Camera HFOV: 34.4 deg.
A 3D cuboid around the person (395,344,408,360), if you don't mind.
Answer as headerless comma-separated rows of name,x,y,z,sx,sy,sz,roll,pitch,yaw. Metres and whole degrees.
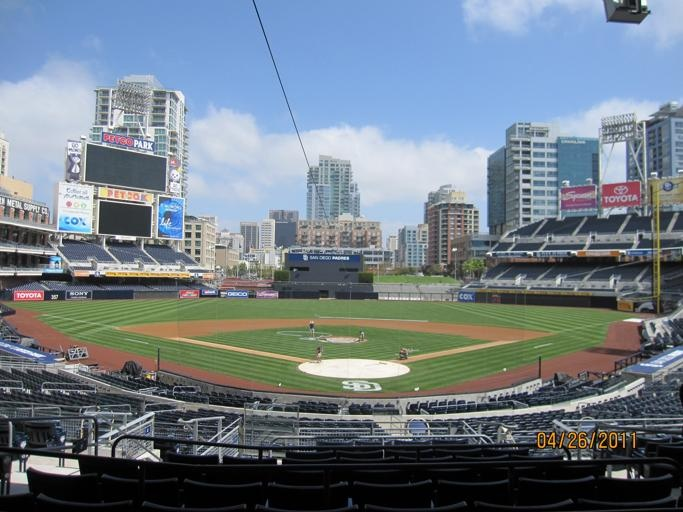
person,6.614,10.689,119.825,1.095,1.056,1.171,0,-5,-3
